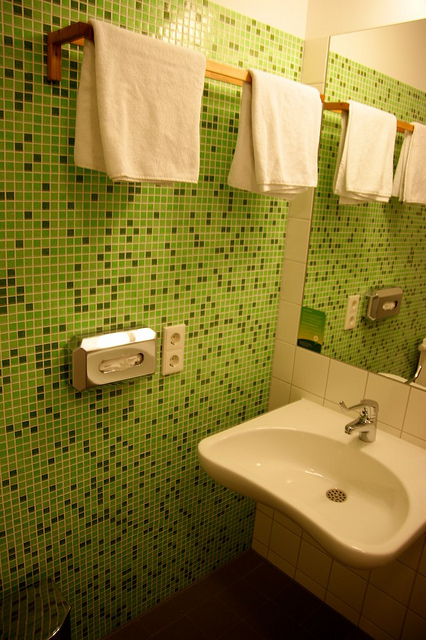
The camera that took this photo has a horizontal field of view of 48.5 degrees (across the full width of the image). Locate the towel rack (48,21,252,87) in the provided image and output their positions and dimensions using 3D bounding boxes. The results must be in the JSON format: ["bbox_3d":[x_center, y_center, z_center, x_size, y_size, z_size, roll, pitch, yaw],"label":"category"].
[{"bbox_3d":[-0.112,-0.550,1.062,0.507,0.105,0.137,-9,17,-41],"label":"towel rack"}]

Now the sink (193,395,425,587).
[{"bbox_3d":[0.328,0.386,1.356,0.625,0.305,0.599,-9,18,-43],"label":"sink"}]

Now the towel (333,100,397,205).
[{"bbox_3d":[0.501,-0.518,1.492,0.197,0.301,0.070,1,5,-19],"label":"towel"}]

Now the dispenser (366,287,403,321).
[{"bbox_3d":[0.538,-0.052,1.469,0.073,0.090,0.029,-8,17,-10],"label":"dispenser"}]

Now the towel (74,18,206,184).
[{"bbox_3d":[-0.136,-0.455,1.022,0.279,0.296,0.108,-4,11,-34],"label":"towel"}]
